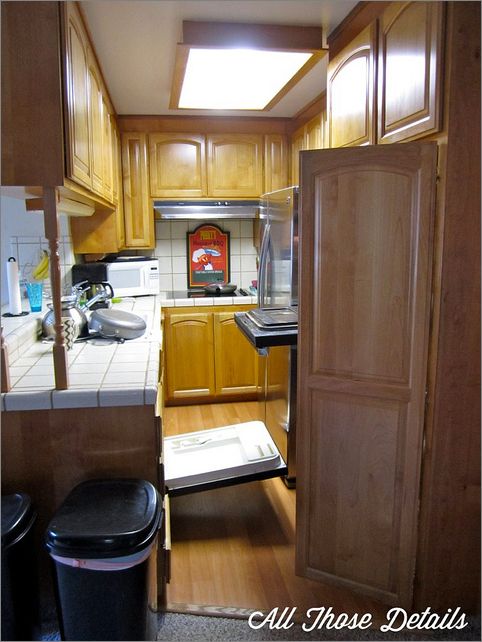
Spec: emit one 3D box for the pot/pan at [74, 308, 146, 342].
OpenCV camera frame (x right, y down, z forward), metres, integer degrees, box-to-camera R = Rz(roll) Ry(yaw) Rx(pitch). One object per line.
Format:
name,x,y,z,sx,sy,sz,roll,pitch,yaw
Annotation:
pot/pan,-0.586,0.016,2.257,0.173,0.077,0.191,10,14,10

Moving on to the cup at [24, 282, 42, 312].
cup,-1.049,-0.129,2.452,0.071,0.147,0.094,-3,7,-26
